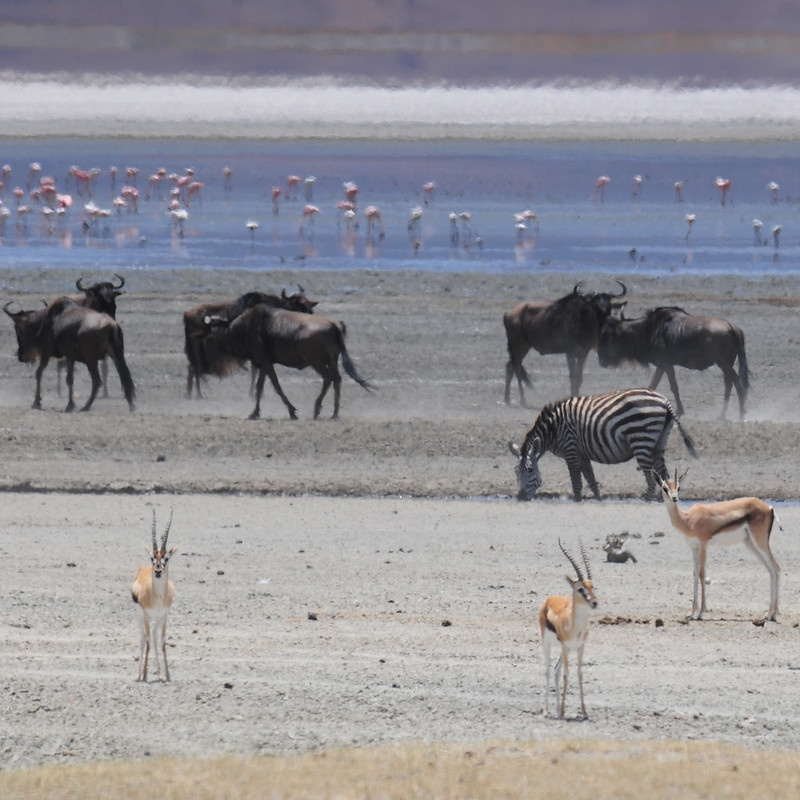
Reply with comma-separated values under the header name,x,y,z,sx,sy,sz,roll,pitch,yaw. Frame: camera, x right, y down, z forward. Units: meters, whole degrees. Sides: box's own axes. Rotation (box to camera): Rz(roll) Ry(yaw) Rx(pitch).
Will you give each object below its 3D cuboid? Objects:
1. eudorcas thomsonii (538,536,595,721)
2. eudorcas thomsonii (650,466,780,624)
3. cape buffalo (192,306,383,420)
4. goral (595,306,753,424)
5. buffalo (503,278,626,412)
name,x,y,z,sx,sy,sz,roll,pitch,yaw
eudorcas thomsonii,1.715,2.218,22.857,0.561,1.818,1.944,1,13,3
eudorcas thomsonii,3.662,1.650,24.835,1.798,2.244,1.000,1,-4,-6
cape buffalo,-2.033,-1.008,37.848,2.053,2.283,2.204,-6,16,-10
goral,4.788,-0.703,38.455,2.738,2.042,0.714,3,10,25
buffalo,2.877,-0.966,39.178,2.713,2.313,0.919,2,8,39
